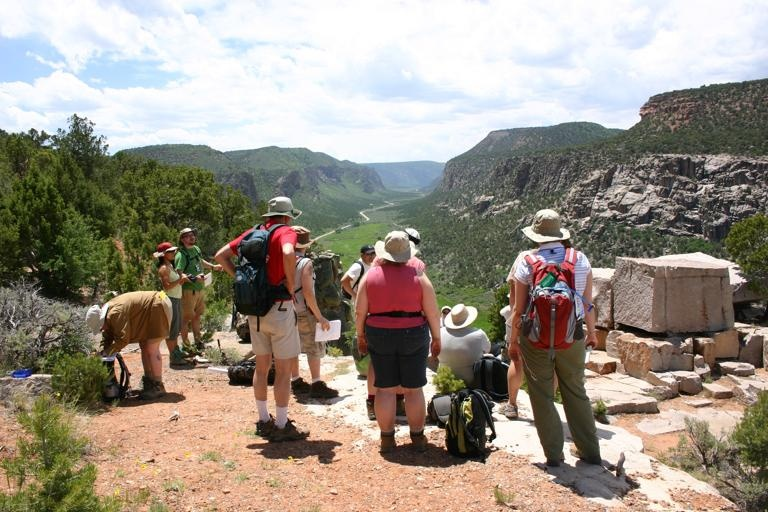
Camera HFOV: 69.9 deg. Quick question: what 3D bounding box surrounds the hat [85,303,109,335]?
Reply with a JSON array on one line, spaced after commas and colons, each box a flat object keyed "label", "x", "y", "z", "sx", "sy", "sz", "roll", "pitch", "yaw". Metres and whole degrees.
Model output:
[{"label": "hat", "x": -4.832, "y": 1.096, "z": 9.289, "sx": 0.326, "sy": 0.507, "sz": 0.359, "roll": -1, "pitch": 10, "yaw": -26}]

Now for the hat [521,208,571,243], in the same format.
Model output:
[{"label": "hat", "x": 2.405, "y": -0.482, "z": 8.258, "sx": 0.772, "sy": 0.401, "sz": 0.847, "roll": 0, "pitch": 15, "yaw": 0}]

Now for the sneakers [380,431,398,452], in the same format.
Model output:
[{"label": "sneakers", "x": 0.078, "y": 2.759, "z": 8.056, "sx": 0.149, "sy": 0.257, "sz": 0.385, "roll": 1, "pitch": 6, "yaw": 2}]

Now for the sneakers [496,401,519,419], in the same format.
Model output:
[{"label": "sneakers", "x": 2.030, "y": 2.588, "z": 9.130, "sx": 0.177, "sy": 0.181, "sz": 0.428, "roll": 1, "pitch": 1, "yaw": -22}]

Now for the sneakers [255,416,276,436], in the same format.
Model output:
[{"label": "sneakers", "x": -1.802, "y": 2.653, "z": 8.439, "sx": 0.156, "sy": 0.187, "sz": 0.391, "roll": 2, "pitch": 3, "yaw": 12}]

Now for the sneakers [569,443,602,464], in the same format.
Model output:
[{"label": "sneakers", "x": 2.897, "y": 2.928, "z": 7.998, "sx": 0.181, "sy": 0.209, "sz": 0.495, "roll": 0, "pitch": 4, "yaw": -25}]

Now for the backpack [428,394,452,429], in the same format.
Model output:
[{"label": "backpack", "x": 0.883, "y": 2.473, "z": 8.715, "sx": 0.394, "sy": 0.524, "sz": 0.512, "roll": 1, "pitch": -4, "yaw": 0}]

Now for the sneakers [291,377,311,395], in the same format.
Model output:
[{"label": "sneakers", "x": -1.544, "y": 2.446, "z": 10.161, "sx": 0.453, "sy": 0.268, "sz": 0.213, "roll": 0, "pitch": 3, "yaw": -3}]

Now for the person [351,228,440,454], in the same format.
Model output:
[{"label": "person", "x": 0.181, "y": 1.290, "z": 7.983, "sx": 1.234, "sy": 3.244, "sz": 0.475, "roll": 4, "pitch": 9, "yaw": 5}]

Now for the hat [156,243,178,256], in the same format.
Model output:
[{"label": "hat", "x": -4.306, "y": -0.112, "z": 10.780, "sx": 0.472, "sy": 0.153, "sz": 0.324, "roll": -13, "pitch": 9, "yaw": -25}]

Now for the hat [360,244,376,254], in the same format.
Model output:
[{"label": "hat", "x": -0.297, "y": -0.102, "z": 10.167, "sx": 0.211, "sy": 0.102, "sz": 0.156, "roll": -1, "pitch": 2, "yaw": 29}]

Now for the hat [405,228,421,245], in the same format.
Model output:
[{"label": "hat", "x": 0.474, "y": -0.336, "z": 9.193, "sx": 0.270, "sy": 0.255, "sz": 0.302, "roll": 28, "pitch": 9, "yaw": 12}]
